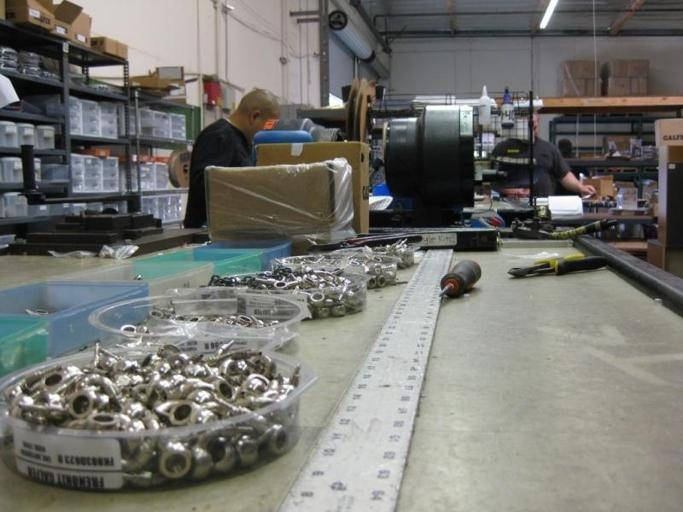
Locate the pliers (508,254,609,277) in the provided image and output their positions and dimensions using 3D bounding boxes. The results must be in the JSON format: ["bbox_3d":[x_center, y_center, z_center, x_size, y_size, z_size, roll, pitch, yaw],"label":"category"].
[{"bbox_3d":[0.603,0.021,1.437,0.295,0.045,0.098,-3,4,-16],"label":"pliers"}]

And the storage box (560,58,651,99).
[{"bbox_3d":[5.457,-3.698,10.821,1.632,0.769,0.631,6,14,21],"label":"storage box"}]

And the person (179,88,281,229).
[{"bbox_3d":[-0.584,-0.592,2.781,0.446,0.891,0.430,2,8,10],"label":"person"}]

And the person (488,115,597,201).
[{"bbox_3d":[1.856,-0.796,4.835,0.989,1.130,1.264,4,7,21],"label":"person"}]

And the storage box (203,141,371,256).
[{"bbox_3d":[-0.170,-0.181,1.808,0.440,0.299,0.462,-1,3,5],"label":"storage box"}]
